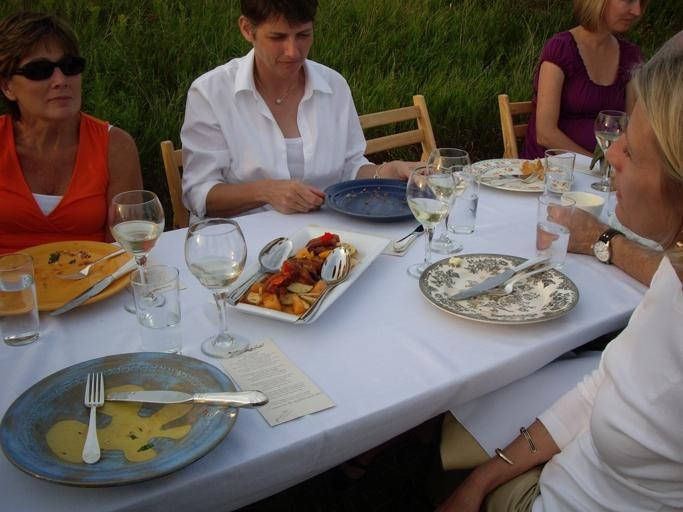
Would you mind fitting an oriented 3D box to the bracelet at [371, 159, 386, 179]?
[{"bbox_3d":[0.165,-0.393,2.384,0.038,0.110,0.095,8,-19,12],"label":"bracelet"}]

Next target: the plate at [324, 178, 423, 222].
[{"bbox_3d":[0.133,-0.259,2.178,0.371,0.056,0.395,2,-4,-18],"label":"plate"}]

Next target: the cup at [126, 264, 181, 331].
[{"bbox_3d":[-0.463,0.141,1.300,0.098,0.174,0.149,-13,53,-9],"label":"cup"}]

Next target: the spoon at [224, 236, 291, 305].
[{"bbox_3d":[-0.224,0.014,1.450,0.067,0.050,0.345,20,38,8],"label":"spoon"}]

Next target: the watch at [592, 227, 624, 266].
[{"bbox_3d":[0.849,-0.043,1.641,0.103,0.117,0.070,-33,18,-19],"label":"watch"}]

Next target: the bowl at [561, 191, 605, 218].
[{"bbox_3d":[0.828,-0.175,1.791,0.089,0.067,0.097,-1,26,0],"label":"bowl"}]

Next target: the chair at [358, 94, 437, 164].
[{"bbox_3d":[0.281,-0.633,3.001,0.465,0.531,0.231,-13,12,-16],"label":"chair"}]

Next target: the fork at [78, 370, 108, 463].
[{"bbox_3d":[-0.498,0.325,1.035,0.026,0.022,0.206,3,42,-25],"label":"fork"}]

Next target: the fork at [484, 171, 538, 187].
[{"bbox_3d":[0.725,-0.324,2.215,0.273,0.049,0.050,-4,45,-1],"label":"fork"}]

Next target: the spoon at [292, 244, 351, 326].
[{"bbox_3d":[-0.043,0.062,1.396,0.063,0.060,0.334,-4,27,17],"label":"spoon"}]

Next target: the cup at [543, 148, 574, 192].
[{"bbox_3d":[0.834,-0.334,2.004,0.101,0.181,0.111,4,40,26],"label":"cup"}]

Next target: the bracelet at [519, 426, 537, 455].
[{"bbox_3d":[0.480,0.476,1.345,0.014,0.045,0.039,-21,-10,18],"label":"bracelet"}]

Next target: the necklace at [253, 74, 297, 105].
[{"bbox_3d":[-0.305,-0.780,2.441,0.138,0.126,0.158,-1,41,-8],"label":"necklace"}]

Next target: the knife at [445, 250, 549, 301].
[{"bbox_3d":[0.446,0.063,1.497,0.303,0.016,0.047,-21,40,-33],"label":"knife"}]

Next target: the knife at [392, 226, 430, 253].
[{"bbox_3d":[0.219,-0.055,1.722,0.043,0.029,0.325,25,18,9],"label":"knife"}]

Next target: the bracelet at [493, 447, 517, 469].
[{"bbox_3d":[0.422,0.518,1.323,0.037,0.010,0.027,42,14,25],"label":"bracelet"}]

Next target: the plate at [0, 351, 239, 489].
[{"bbox_3d":[-0.440,0.316,1.047,0.439,0.090,0.324,-11,22,-15],"label":"plate"}]

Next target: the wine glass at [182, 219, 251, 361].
[{"bbox_3d":[-0.303,0.060,1.297,0.141,0.293,0.258,-8,21,-11],"label":"wine glass"}]
